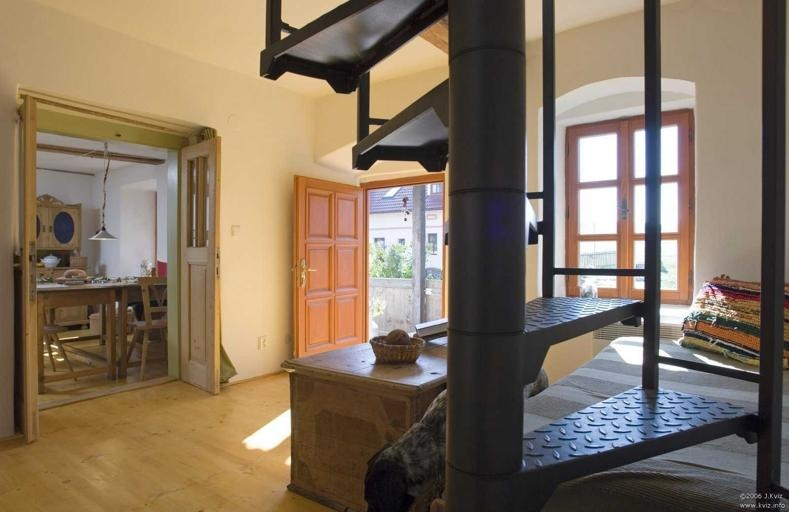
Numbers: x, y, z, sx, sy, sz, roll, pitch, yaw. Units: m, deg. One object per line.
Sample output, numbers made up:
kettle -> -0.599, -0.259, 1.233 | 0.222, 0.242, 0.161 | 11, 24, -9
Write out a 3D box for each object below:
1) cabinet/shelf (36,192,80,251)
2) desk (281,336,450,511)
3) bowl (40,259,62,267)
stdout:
cabinet/shelf -> -5.929, -0.570, 9.758 | 0.419, 0.998, 0.981 | 5, 12, 18
desk -> -0.208, 1.099, 3.485 | 1.008, 0.917, 0.581 | 2, 12, 6
bowl -> -5.739, 0.104, 9.261 | 0.254, 0.167, 0.204 | 1, -3, -33
